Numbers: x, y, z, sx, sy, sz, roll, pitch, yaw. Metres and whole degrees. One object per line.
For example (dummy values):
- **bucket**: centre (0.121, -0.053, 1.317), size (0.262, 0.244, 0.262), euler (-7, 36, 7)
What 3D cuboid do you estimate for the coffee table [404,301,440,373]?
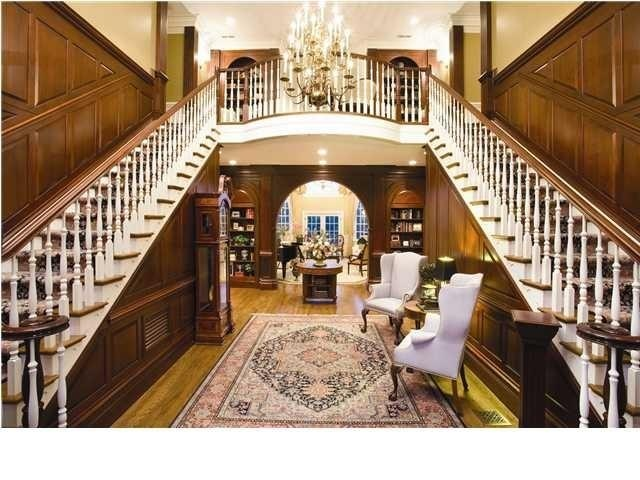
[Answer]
- **coffee table**: centre (1.279, 1.189, 5.647), size (0.646, 0.800, 0.681), euler (0, 4, -2)

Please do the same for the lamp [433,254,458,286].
- **lamp**: centre (1.600, 0.352, 5.621), size (0.294, 0.441, 0.296), euler (-2, 10, -9)

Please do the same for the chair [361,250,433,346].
- **chair**: centre (1.119, 0.835, 6.781), size (0.877, 1.267, 0.979), euler (3, 5, 3)

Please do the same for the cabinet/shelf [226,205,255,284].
- **cabinet/shelf**: centre (-1.807, 0.024, 10.394), size (0.653, 1.891, 0.218), euler (0, -3, -4)

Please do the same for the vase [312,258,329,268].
- **vase**: centre (-0.006, 0.439, 8.709), size (0.210, 0.158, 0.154), euler (1, 9, -1)

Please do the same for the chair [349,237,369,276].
- **chair**: centre (1.028, 0.502, 12.353), size (0.539, 0.869, 0.500), euler (2, -5, 10)

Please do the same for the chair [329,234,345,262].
- **chair**: centre (0.493, 0.238, 14.969), size (0.698, 1.016, 0.702), euler (1, 0, -4)

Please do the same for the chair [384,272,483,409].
- **chair**: centre (1.303, 1.112, 5.197), size (1.017, 1.398, 1.068), euler (1, 6, -20)
